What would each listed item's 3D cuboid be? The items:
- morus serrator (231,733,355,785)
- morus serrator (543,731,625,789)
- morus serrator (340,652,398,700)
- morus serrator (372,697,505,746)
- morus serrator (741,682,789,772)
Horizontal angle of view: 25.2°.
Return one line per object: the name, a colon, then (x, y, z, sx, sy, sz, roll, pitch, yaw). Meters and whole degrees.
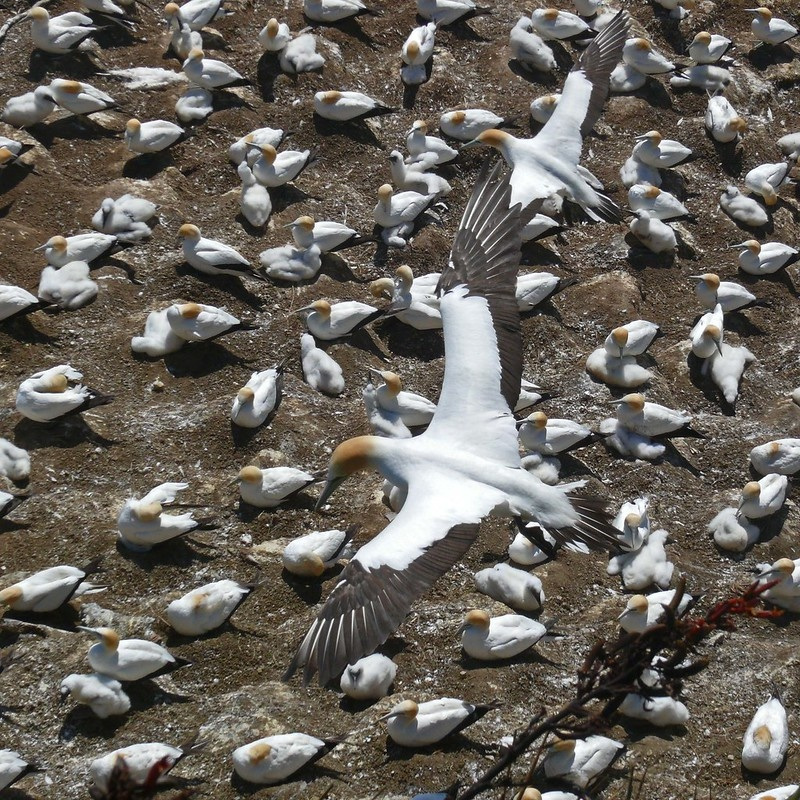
morus serrator: (-1.249, 3.893, 19.430, 1.346, 0.507, 0.345, -13, 80, 9)
morus serrator: (1.934, 3.881, 19.444, 0.597, 0.505, 0.641, 29, 38, 16)
morus serrator: (-0.309, 3.100, 20.298, 0.492, 0.419, 0.614, -16, 24, 29)
morus serrator: (0.350, 3.541, 19.632, 1.507, 0.538, 0.434, -12, 53, -2)
morus serrator: (4.081, 3.737, 19.936, 0.418, 0.648, 0.786, 3, 67, 33)
